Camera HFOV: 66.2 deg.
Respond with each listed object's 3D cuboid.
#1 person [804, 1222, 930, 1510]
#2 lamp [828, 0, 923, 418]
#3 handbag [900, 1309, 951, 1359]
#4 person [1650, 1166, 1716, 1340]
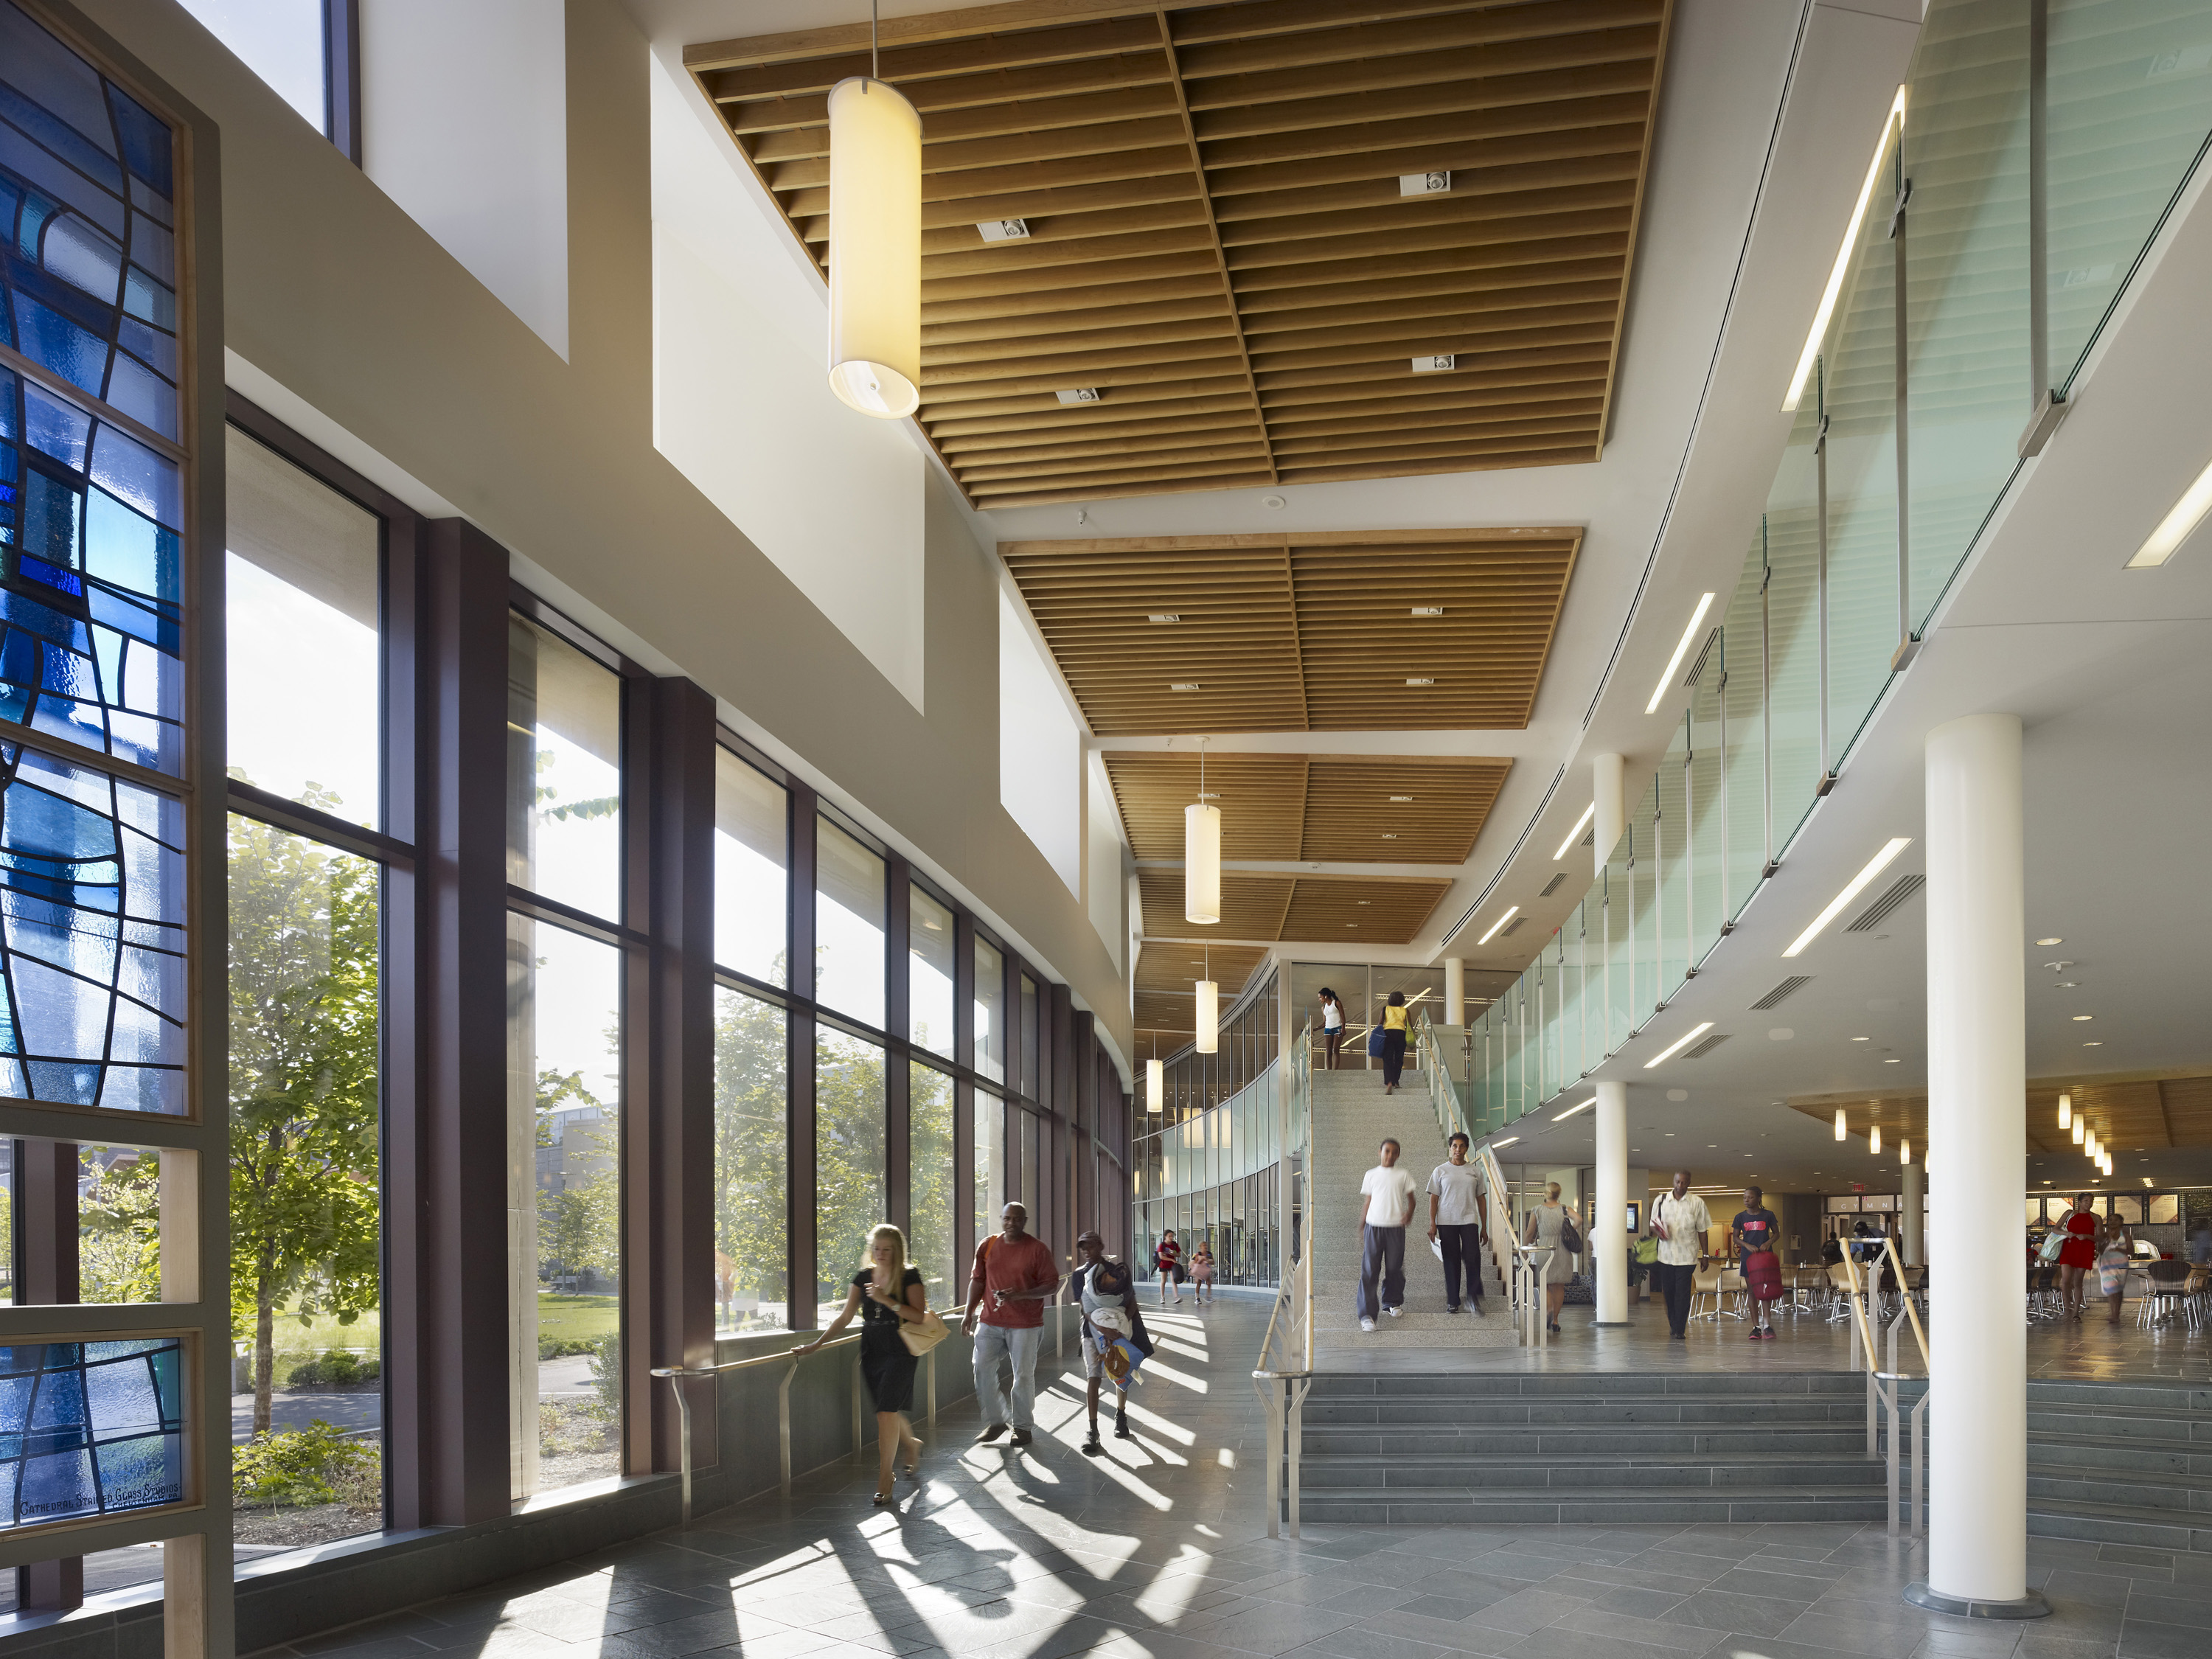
[{"bbox_3d":[-1.393,3.287,10.424,0.558,1.562,2.169,-1,-17,-8],"label":"person"},{"bbox_3d":[-0.846,-2.119,6.154,0.301,1.217,0.250,2,-16,-16],"label":"lamp"},{"bbox_3d":[-0.976,2.854,9.643,0.250,0.229,0.370,-10,-19,21],"label":"handbag"},{"bbox_3d":[5.435,4.021,16.145,0.584,1.571,0.575,4,2,31],"label":"person"}]
